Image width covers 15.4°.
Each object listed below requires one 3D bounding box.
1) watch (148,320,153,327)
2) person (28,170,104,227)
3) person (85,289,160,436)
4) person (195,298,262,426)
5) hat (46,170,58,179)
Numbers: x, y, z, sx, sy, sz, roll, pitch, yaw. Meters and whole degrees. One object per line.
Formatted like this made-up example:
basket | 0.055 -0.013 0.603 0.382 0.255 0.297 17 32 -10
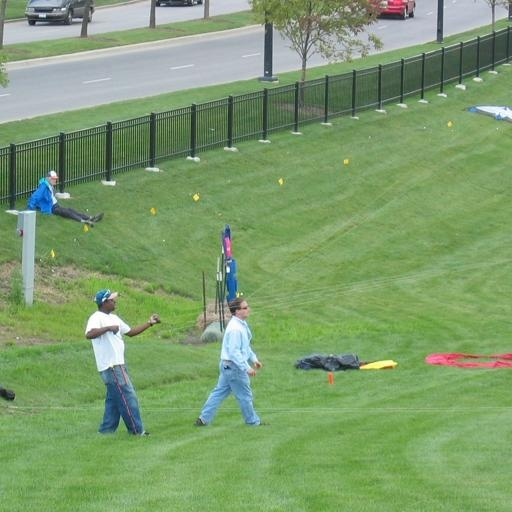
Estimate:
watch | -1.813 1.181 33.277 0.069 0.119 0.098 0 -3 -6
person | -4.250 -1.306 43.383 1.531 1.017 1.499 15 8 10
person | -2.422 1.876 33.447 0.990 2.585 0.569 -4 9 -5
person | -0.406 1.943 33.996 1.049 2.285 0.537 -3 9 -1
hat | -4.562 -1.840 42.735 0.212 0.169 0.439 -5 12 -5
